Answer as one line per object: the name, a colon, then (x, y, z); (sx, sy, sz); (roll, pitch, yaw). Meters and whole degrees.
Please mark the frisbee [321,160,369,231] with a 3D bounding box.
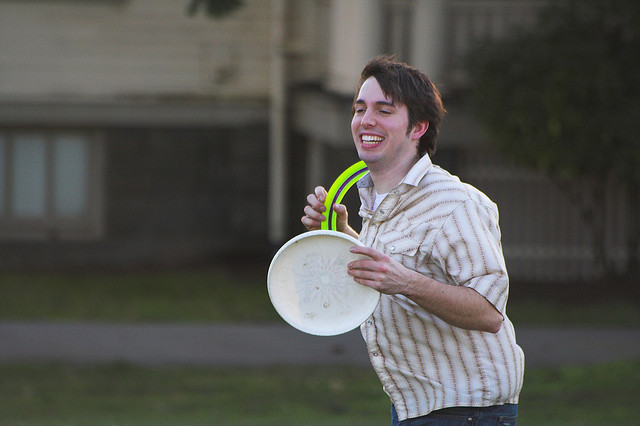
frisbee: (0.204, -0.146, 14.230); (0.214, 0.516, 0.456); (11, -19, -39)
